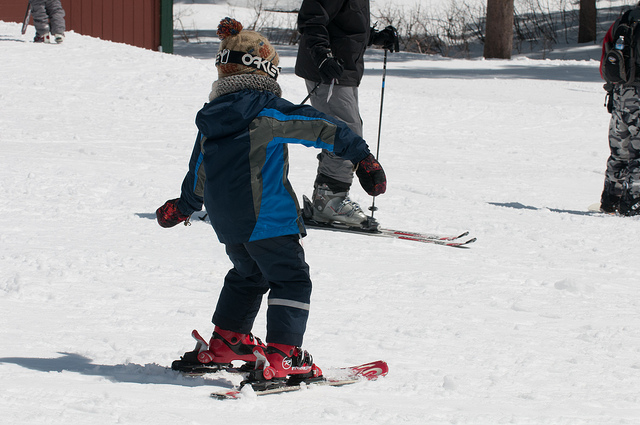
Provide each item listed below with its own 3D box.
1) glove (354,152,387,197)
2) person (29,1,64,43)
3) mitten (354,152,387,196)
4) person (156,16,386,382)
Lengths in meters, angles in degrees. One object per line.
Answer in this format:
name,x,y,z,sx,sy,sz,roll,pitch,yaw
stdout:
glove,0.361,-0.274,6.044,0.217,0.281,0.186,-4,23,-1
person,-4.745,-3.325,14.506,0.533,0.741,0.341,0,6,-17
mitten,0.382,-0.281,6.017,0.200,0.304,0.084,-21,32,27
person,-0.383,-0.107,5.804,1.418,2.467,0.623,2,6,-1
